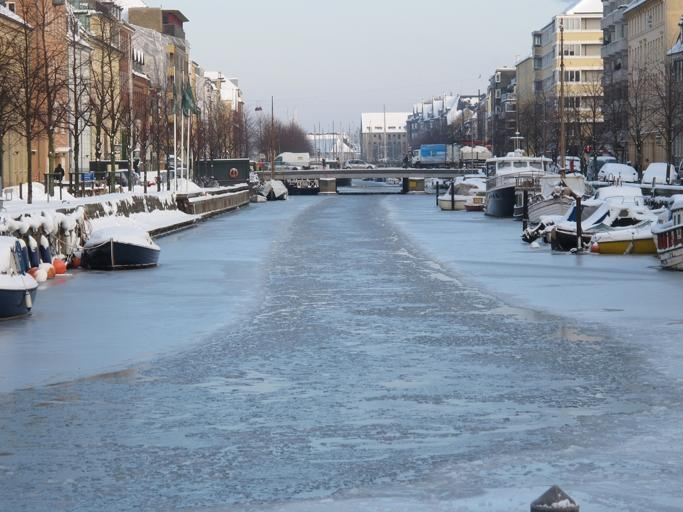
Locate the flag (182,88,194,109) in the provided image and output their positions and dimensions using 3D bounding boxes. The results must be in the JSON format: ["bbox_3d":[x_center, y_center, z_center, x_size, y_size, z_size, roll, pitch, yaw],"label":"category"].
[{"bbox_3d":[-9.400,-9.568,62.618,0.543,1.306,1.412,-6,8,-11],"label":"flag"}]
